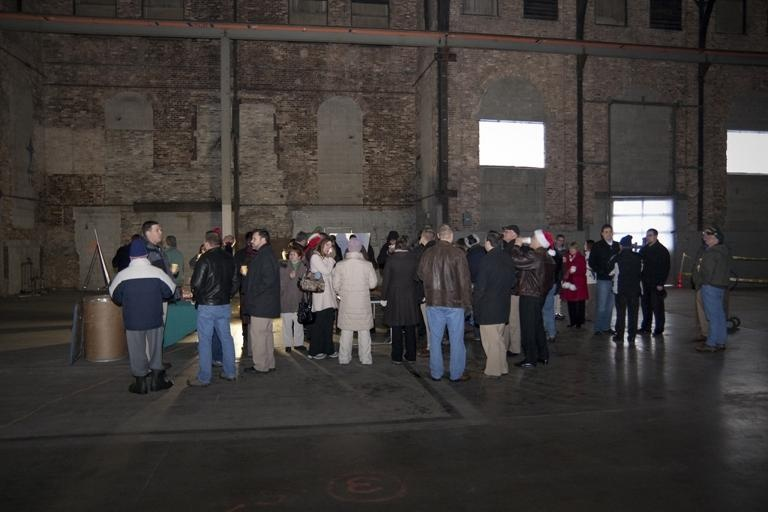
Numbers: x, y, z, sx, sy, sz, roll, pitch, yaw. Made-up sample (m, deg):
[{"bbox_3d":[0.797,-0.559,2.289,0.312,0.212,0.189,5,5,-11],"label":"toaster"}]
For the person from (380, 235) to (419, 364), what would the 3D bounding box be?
[{"bbox_3d":[0.416,1.048,20.828,0.891,3.021,0.919,-1,2,1],"label":"person"}]

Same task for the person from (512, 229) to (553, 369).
[{"bbox_3d":[3.584,0.993,20.506,0.917,3.206,0.647,-2,2,-33],"label":"person"}]

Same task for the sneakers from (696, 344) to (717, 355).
[{"bbox_3d":[8.082,2.318,21.210,0.427,0.201,0.219,3,5,22],"label":"sneakers"}]

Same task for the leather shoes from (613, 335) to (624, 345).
[{"bbox_3d":[6.107,2.137,22.090,0.250,0.214,0.529,0,2,13],"label":"leather shoes"}]

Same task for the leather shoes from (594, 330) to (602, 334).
[{"bbox_3d":[5.786,2.048,22.893,0.181,0.087,0.174,-1,2,7],"label":"leather shoes"}]

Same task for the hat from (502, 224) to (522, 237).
[{"bbox_3d":[3.126,-0.624,20.821,0.352,0.198,0.255,8,0,6],"label":"hat"}]

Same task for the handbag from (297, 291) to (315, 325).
[{"bbox_3d":[-1.940,1.271,21.000,0.388,0.779,0.570,-1,2,-6],"label":"handbag"}]

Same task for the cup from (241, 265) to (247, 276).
[{"bbox_3d":[-3.509,0.362,21.289,0.151,0.216,0.206,-3,7,5],"label":"cup"}]

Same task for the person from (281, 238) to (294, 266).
[{"bbox_3d":[-2.745,-0.093,24.178,0.195,0.770,0.817,10,-5,-13],"label":"person"}]

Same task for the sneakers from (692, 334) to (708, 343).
[{"bbox_3d":[8.210,2.145,22.103,0.360,0.156,0.133,1,-4,20],"label":"sneakers"}]

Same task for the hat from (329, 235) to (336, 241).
[{"bbox_3d":[-1.418,-0.511,23.573,0.108,0.170,0.162,-7,-8,3],"label":"hat"}]

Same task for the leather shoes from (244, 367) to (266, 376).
[{"bbox_3d":[-3.032,2.666,20.020,0.470,0.192,0.191,7,-3,-2],"label":"leather shoes"}]

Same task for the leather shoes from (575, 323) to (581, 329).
[{"bbox_3d":[5.456,1.974,23.791,0.098,0.116,0.166,9,40,23],"label":"leather shoes"}]

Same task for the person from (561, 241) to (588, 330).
[{"bbox_3d":[5.336,0.805,23.847,0.711,2.334,0.787,-1,2,12],"label":"person"}]

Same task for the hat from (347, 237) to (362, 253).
[{"bbox_3d":[-0.694,-0.286,20.676,0.262,0.281,0.362,3,23,-3],"label":"hat"}]

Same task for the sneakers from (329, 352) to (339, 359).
[{"bbox_3d":[-1.237,2.449,21.167,0.082,0.111,0.280,-7,-13,35],"label":"sneakers"}]

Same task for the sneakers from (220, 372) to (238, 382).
[{"bbox_3d":[-3.618,2.770,19.622,0.389,0.165,0.170,4,2,33],"label":"sneakers"}]

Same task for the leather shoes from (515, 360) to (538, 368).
[{"bbox_3d":[3.411,2.578,20.304,0.489,0.209,0.184,5,-3,17],"label":"leather shoes"}]

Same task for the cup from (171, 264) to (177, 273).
[{"bbox_3d":[-5.188,0.308,21.004,0.165,0.180,0.153,1,-6,0],"label":"cup"}]

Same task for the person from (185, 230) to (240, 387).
[{"bbox_3d":[-3.890,1.169,19.380,1.071,3.468,0.474,-1,2,-14],"label":"person"}]

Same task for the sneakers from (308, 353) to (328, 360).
[{"bbox_3d":[-1.637,2.466,21.003,0.459,0.187,0.142,6,-6,-17],"label":"sneakers"}]

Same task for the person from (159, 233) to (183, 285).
[{"bbox_3d":[-5.534,0.315,22.098,0.607,1.865,0.594,1,28,-11],"label":"person"}]

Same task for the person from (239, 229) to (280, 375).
[{"bbox_3d":[-2.882,1.040,20.061,0.807,3.322,0.637,-1,2,11],"label":"person"}]

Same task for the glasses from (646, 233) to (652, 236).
[{"bbox_3d":[7.170,-0.579,22.940,0.059,0.102,0.228,-1,2,-17],"label":"glasses"}]

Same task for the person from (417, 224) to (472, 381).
[{"bbox_3d":[1.444,1.064,19.692,1.195,3.520,0.689,-1,2,5],"label":"person"}]

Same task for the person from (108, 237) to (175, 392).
[{"bbox_3d":[-5.370,1.317,19.019,1.303,3.413,0.475,-2,2,-19],"label":"person"}]

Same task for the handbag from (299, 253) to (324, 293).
[{"bbox_3d":[-1.754,0.404,20.702,0.819,0.847,0.434,3,-15,-13],"label":"handbag"}]

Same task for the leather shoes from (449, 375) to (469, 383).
[{"bbox_3d":[1.729,2.770,19.562,0.460,0.198,0.156,-6,6,-16],"label":"leather shoes"}]

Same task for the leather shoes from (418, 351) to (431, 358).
[{"bbox_3d":[0.997,2.433,21.300,0.228,0.084,0.166,0,0,-42],"label":"leather shoes"}]

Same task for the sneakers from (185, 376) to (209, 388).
[{"bbox_3d":[-4.230,2.849,19.332,0.402,0.173,0.221,6,-4,-4],"label":"sneakers"}]

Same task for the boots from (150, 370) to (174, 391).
[{"bbox_3d":[-5.028,2.787,19.195,0.266,0.500,0.711,3,8,15],"label":"boots"}]

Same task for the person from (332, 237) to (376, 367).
[{"bbox_3d":[-0.709,1.067,20.620,1.005,3.047,0.529,-1,2,-2],"label":"person"}]

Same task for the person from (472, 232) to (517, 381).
[{"bbox_3d":[2.562,1.112,19.799,0.953,3.310,0.504,-1,2,6],"label":"person"}]

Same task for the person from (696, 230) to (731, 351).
[{"bbox_3d":[8.298,0.831,21.331,0.736,3.014,0.441,-1,2,7],"label":"person"}]
